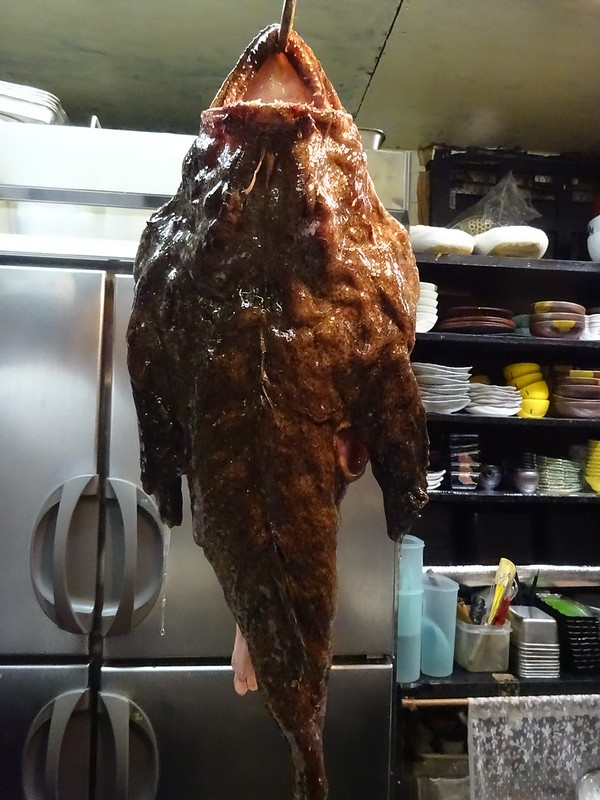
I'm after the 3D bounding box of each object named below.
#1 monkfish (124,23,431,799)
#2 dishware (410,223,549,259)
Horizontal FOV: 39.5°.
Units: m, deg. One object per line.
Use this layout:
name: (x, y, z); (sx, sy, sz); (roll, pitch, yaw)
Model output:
monkfish: (-0.052, -0.036, 1.565); (0.499, 1.377, 0.348); (2, -2, -2)
dishware: (0.587, -0.535, 2.810); (0.498, 0.108, 0.139); (-2, 18, -13)
